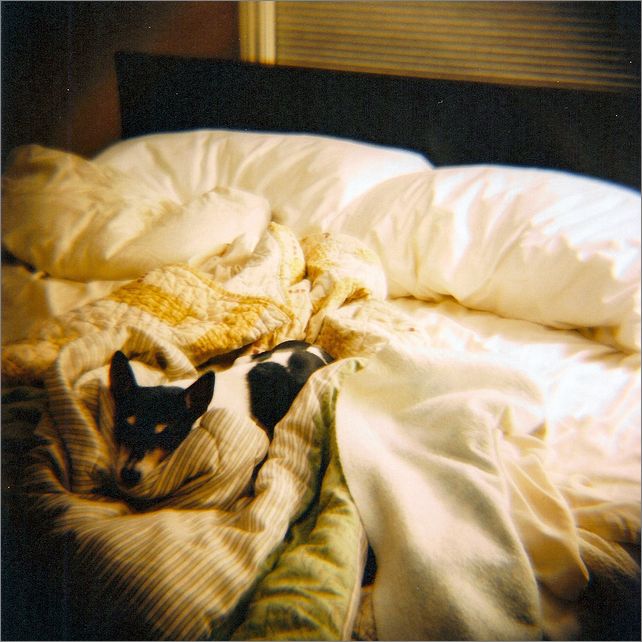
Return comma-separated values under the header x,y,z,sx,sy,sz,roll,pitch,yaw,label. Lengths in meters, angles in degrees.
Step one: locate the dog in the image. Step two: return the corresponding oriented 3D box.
x,y,z,sx,sy,sz,roll,pitch,yaw,label
-0.103,0.076,0.748,0.080,0.116,0.218,20,22,29,dog
